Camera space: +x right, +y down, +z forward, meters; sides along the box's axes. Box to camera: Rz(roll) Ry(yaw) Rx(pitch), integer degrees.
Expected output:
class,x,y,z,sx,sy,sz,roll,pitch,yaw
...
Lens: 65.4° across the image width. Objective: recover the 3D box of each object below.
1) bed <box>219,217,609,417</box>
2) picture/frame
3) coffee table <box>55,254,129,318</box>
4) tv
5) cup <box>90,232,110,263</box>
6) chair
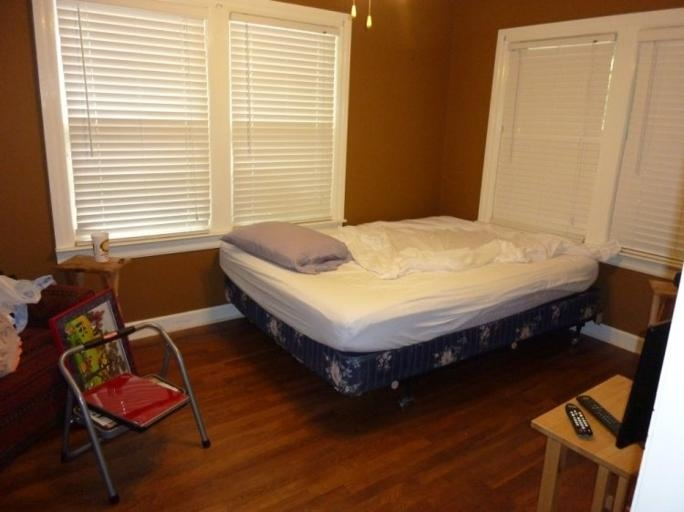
class,x,y,z,sx,sy,sz,roll,pitch,yaw
bed,0.679,0.241,3.748,2.008,0.629,1.477,-10,19,-30
picture/frame,-1.477,0.509,3.108,0.055,0.396,0.536,-14,13,15
coffee table,-1.779,0.219,3.781,0.392,0.378,0.339,7,15,-2
tv,1.301,0.565,2.262,0.185,0.602,0.110,-6,20,-11
cup,-1.675,-0.067,3.703,0.112,0.195,0.088,-16,24,-34
chair,-1.192,0.772,2.988,0.682,0.770,0.661,12,24,34
